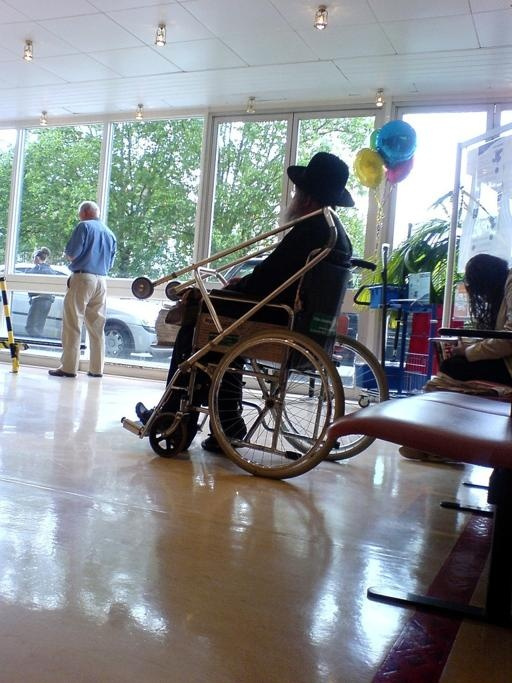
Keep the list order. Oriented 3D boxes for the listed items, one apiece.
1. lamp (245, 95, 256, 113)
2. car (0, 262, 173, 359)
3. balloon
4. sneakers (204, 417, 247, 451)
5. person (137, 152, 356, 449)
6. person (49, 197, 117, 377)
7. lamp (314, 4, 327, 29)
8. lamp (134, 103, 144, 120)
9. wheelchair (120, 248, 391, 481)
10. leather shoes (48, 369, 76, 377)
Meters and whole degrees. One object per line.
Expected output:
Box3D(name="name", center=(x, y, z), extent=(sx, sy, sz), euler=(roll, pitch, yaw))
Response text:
Box3D(name="lamp", center=(-0.053, -2.653, 5.926), extent=(0.106, 0.125, 0.108), euler=(1, 5, 25))
Box3D(name="car", center=(-2.187, -0.402, 6.995), extent=(2.537, 1.061, 1.261), euler=(-1, 0, 13))
Box3D(name="balloon", center=(1.200, -1.697, 4.843), extent=(0.535, 0.552, 0.319), euler=(6, -3, -1))
Box3D(name="sneakers", center=(-0.141, 0.448, 2.532), extent=(0.245, 0.196, 0.136), euler=(-4, -2, 10))
Box3D(name="person", center=(-0.025, -0.106, 2.379), extent=(1.113, 1.256, 0.642), euler=(9, 15, 19))
Box3D(name="person", center=(-1.813, -0.554, 5.593), extent=(0.339, 1.661, 0.657), euler=(4, -3, 30))
Box3D(name="lamp", center=(0.489, -2.434, 3.939), extent=(0.108, 0.153, 0.113), euler=(-4, 14, -21))
Box3D(name="lamp", center=(-1.426, -2.801, 6.444), extent=(0.106, 0.165, 0.103), euler=(-3, 20, -18))
Box3D(name="wheelchair", center=(0.023, 0.087, 2.333), extent=(1.172, 0.790, 0.928), euler=(7, 3, 4))
Box3D(name="leather shoes", center=(-2.016, 0.328, 5.474), extent=(0.255, 0.074, 0.243), euler=(6, -3, -21))
